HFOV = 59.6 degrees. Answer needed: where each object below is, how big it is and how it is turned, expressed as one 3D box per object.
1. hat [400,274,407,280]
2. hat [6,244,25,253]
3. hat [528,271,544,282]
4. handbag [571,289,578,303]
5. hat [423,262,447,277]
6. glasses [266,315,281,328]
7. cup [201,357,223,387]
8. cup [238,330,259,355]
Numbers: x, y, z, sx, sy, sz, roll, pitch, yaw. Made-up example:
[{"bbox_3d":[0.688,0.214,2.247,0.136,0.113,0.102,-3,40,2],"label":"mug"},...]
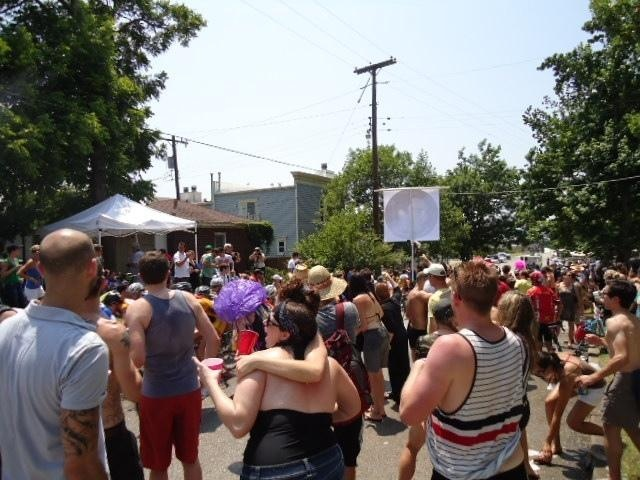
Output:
[{"bbox_3d":[1.874,0.804,12.670,0.094,0.141,0.139,16,-28,23],"label":"hat"},{"bbox_3d":[-7.533,0.212,13.819,0.159,0.246,0.221,25,37,35],"label":"hat"},{"bbox_3d":[4.090,0.685,10.632,0.160,0.258,0.241,-1,29,-2],"label":"hat"},{"bbox_3d":[5.757,1.295,12.718,0.141,0.221,0.187,-13,-40,24],"label":"handbag"},{"bbox_3d":[1.633,0.423,7.972,0.232,0.149,0.183,1,0,15],"label":"hat"},{"bbox_3d":[-0.393,0.679,4.599,0.091,0.109,0.032,7,19,41],"label":"glasses"},{"bbox_3d":[-0.918,1.092,4.767,0.142,0.121,0.137,2,0,0],"label":"cup"},{"bbox_3d":[-0.622,0.877,4.747,0.156,0.200,0.367,2,-4,-9],"label":"cup"}]
